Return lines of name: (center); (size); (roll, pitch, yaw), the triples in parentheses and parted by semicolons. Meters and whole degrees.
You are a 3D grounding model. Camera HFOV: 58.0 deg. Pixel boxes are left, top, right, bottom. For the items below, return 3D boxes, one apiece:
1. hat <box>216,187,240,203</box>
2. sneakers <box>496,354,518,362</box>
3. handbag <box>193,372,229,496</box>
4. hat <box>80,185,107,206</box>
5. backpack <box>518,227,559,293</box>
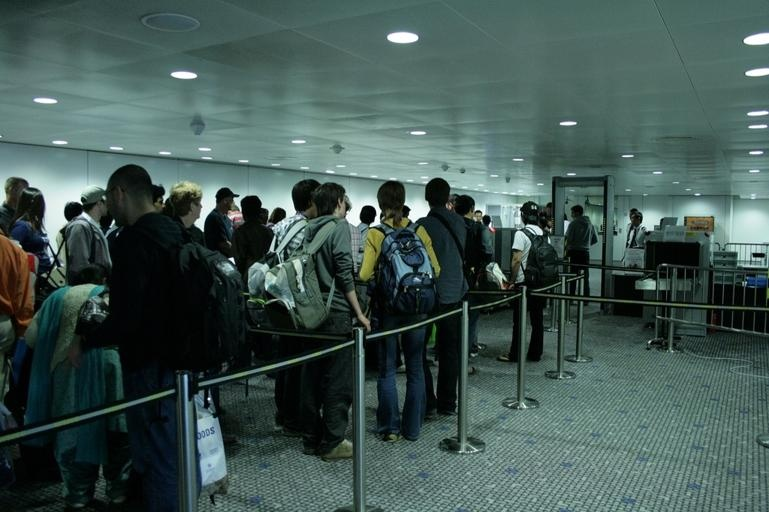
hat: (-2.150, -0.830, 9.448); (0.205, 0.212, 0.265); (8, 14, 34)
sneakers: (1.717, 1.433, 9.743); (0.296, 0.117, 0.119); (3, 1, 32)
handbag: (-1.446, 1.679, 5.823); (0.216, 0.963, 0.502); (-3, 12, -14)
hat: (-3.283, -0.675, 7.859); (0.222, 0.210, 0.428); (-6, 13, -27)
backpack: (2.124, 0.031, 9.527); (0.544, 0.805, 0.456); (-8, 8, -44)
